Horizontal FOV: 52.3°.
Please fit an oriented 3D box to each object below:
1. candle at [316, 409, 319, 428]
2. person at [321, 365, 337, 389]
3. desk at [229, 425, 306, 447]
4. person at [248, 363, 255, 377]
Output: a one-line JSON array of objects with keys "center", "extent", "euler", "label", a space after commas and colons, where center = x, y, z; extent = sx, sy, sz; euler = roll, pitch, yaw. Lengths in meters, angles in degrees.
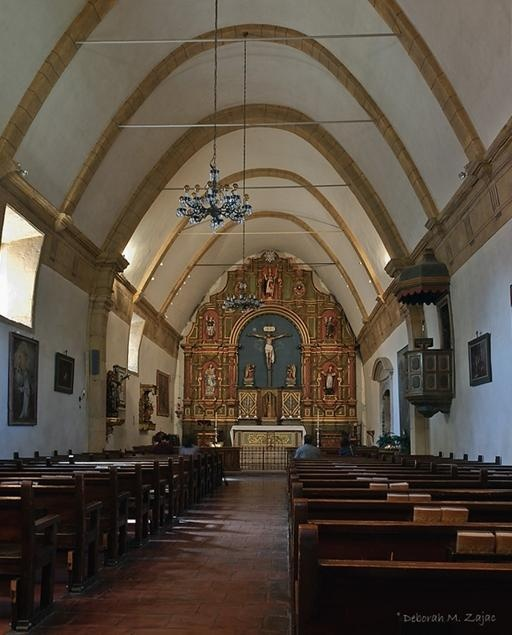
[{"center": [3.075, 5.133, 26.230], "extent": [0.127, 0.900, 0.174], "euler": [1, -12, 6], "label": "candle"}, {"center": [3.658, 3.062, 26.525], "extent": [0.779, 1.263, 0.286], "euler": [1, -12, 6], "label": "person"}, {"center": [0.529, 5.628, 24.546], "extent": [3.297, 1.090, 1.627], "euler": [3, -13, -2], "label": "desk"}, {"center": [-0.276, 2.759, 26.888], "extent": [0.521, 1.035, 0.312], "euler": [1, -10, -8], "label": "person"}]
